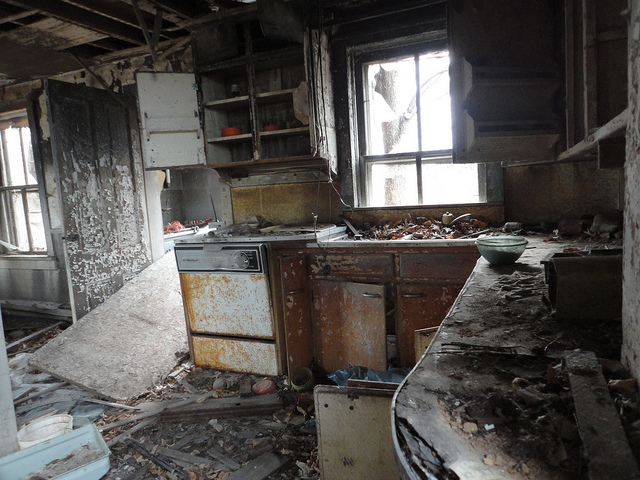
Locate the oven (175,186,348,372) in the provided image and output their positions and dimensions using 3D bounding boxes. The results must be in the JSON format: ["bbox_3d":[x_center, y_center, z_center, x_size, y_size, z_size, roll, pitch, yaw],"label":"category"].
[{"bbox_3d":[-0.455,0.298,4.012,1.257,1.404,0.984,1,12,28],"label":"oven"}]

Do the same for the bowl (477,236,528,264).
[{"bbox_3d":[0.901,0.053,2.371,0.223,0.123,0.207,-3,6,0],"label":"bowl"}]
